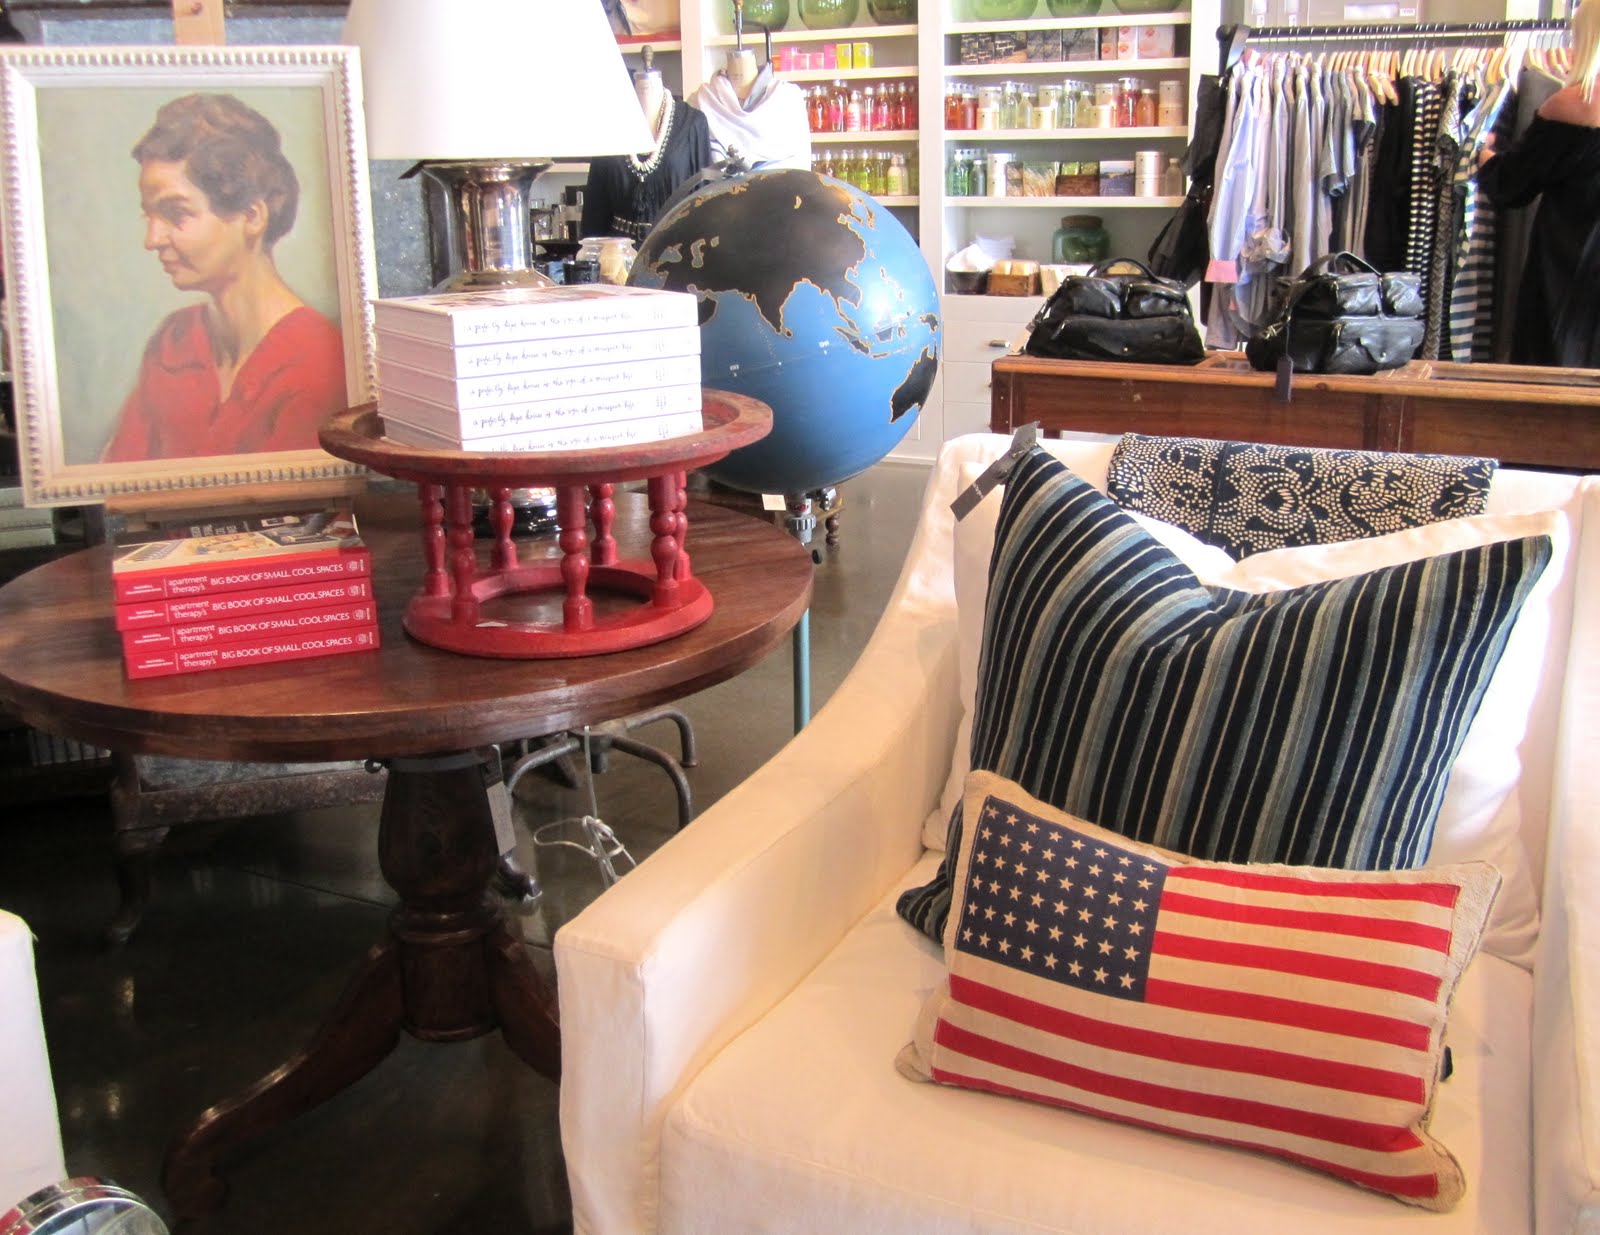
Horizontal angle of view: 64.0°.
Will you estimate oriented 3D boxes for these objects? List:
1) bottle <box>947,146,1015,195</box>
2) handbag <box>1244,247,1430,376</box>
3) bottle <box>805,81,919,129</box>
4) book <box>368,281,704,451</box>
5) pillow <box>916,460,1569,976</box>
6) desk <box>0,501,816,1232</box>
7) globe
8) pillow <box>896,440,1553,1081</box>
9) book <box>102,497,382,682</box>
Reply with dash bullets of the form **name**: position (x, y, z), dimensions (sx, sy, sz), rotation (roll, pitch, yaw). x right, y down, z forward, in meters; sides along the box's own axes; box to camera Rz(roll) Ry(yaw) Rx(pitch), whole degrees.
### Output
- **bottle**: position (0.837, -2.110, 6.060), dimensions (0.310, 0.222, 0.184), rotation (9, 17, 30)
- **handbag**: position (1.370, -0.797, 3.313), dimensions (0.391, 0.262, 0.383), rotation (-9, 20, -27)
- **bottle**: position (0.283, -2.480, 6.199), dimensions (0.575, 0.235, 0.126), rotation (9, 19, 29)
- **book**: position (-0.291, -0.282, 1.437), dimensions (0.344, 0.163, 0.266), rotation (-6, 17, -19)
- **pillow**: position (0.449, 0.031, 1.406), dimensions (0.569, 0.513, 0.303), rotation (15, 65, 18)
- **desk**: position (-0.435, 0.326, 1.856), dimensions (0.899, 0.668, 0.904), rotation (4, 23, 6)
- **globe**: position (-0.021, -0.425, 2.384), dimensions (0.640, 0.947, 0.663), rotation (0, 14, 4)
- **pillow**: position (0.427, 0.044, 1.453), dimensions (0.626, 0.586, 0.316), rotation (19, 63, 20)
- **book**: position (-0.645, -0.029, 1.488), dimensions (0.270, 0.120, 0.252), rotation (-8, 18, -25)
